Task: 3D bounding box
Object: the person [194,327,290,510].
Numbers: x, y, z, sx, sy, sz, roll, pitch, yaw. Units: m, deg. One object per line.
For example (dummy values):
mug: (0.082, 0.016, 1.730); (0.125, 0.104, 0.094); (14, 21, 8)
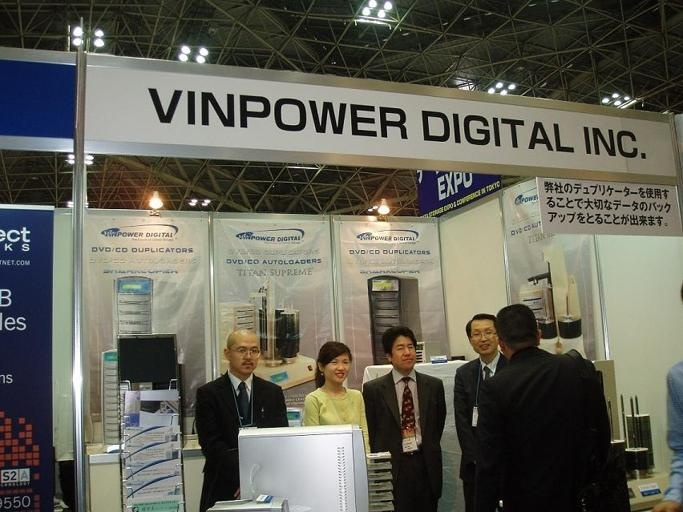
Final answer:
person: (-0.623, 1.032, 3.653); (0.586, 1.130, 0.406); (-1, -10, -15)
